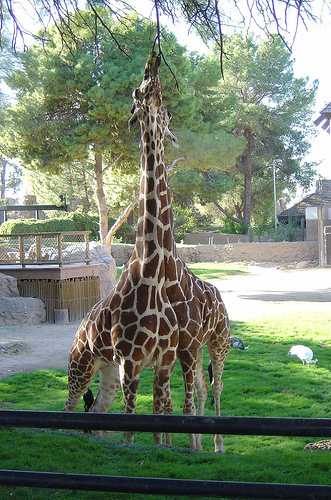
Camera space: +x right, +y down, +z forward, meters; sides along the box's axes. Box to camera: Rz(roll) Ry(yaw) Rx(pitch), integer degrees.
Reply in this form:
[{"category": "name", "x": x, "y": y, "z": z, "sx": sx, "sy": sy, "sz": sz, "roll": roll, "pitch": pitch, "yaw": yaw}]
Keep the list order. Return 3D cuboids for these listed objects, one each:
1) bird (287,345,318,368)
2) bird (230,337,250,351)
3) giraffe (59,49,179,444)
[{"category": "bird", "x": 1.988, "y": 1.555, "z": 9.273, "sx": 0.258, "sy": 0.321, "sz": 0.508, "roll": 11, "pitch": -16, "yaw": -25}, {"category": "bird", "x": 1.263, "y": 1.580, "z": 10.696, "sx": 0.320, "sy": 0.255, "sz": 0.450, "roll": 2, "pitch": -15, "yaw": 6}, {"category": "giraffe", "x": -0.217, "y": -0.022, "z": 4.444, "sx": 0.695, "sy": 2.256, "sz": 1.615, "roll": 7, "pitch": -15, "yaw": -10}]
